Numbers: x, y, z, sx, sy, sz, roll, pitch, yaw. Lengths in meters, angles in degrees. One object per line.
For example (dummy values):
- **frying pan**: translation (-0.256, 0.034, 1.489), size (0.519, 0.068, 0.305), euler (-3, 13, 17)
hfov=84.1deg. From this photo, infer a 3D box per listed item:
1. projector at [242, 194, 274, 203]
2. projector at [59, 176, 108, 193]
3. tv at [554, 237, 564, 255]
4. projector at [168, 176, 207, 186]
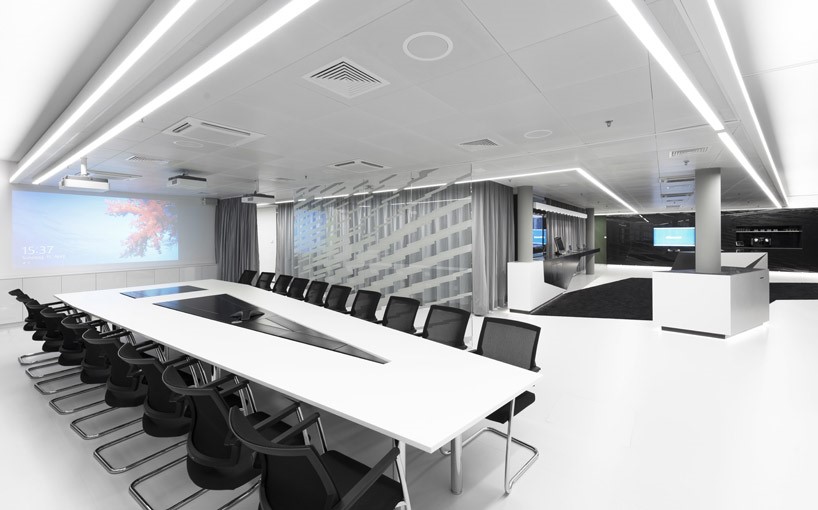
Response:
- **projector**: translation (-3.264, -1.238, 9.900), size (0.476, 0.219, 0.561), euler (2, 6, 20)
- **projector**: translation (-5.408, -1.197, 7.572), size (0.593, 0.205, 0.441), euler (-5, 8, -40)
- **tv**: translation (4.600, -0.241, 13.935), size (0.323, 0.547, 0.581), euler (-1, -4, 29)
- **projector**: translation (-4.051, -1.349, 8.284), size (0.377, 0.093, 0.410), euler (-3, 6, -41)
